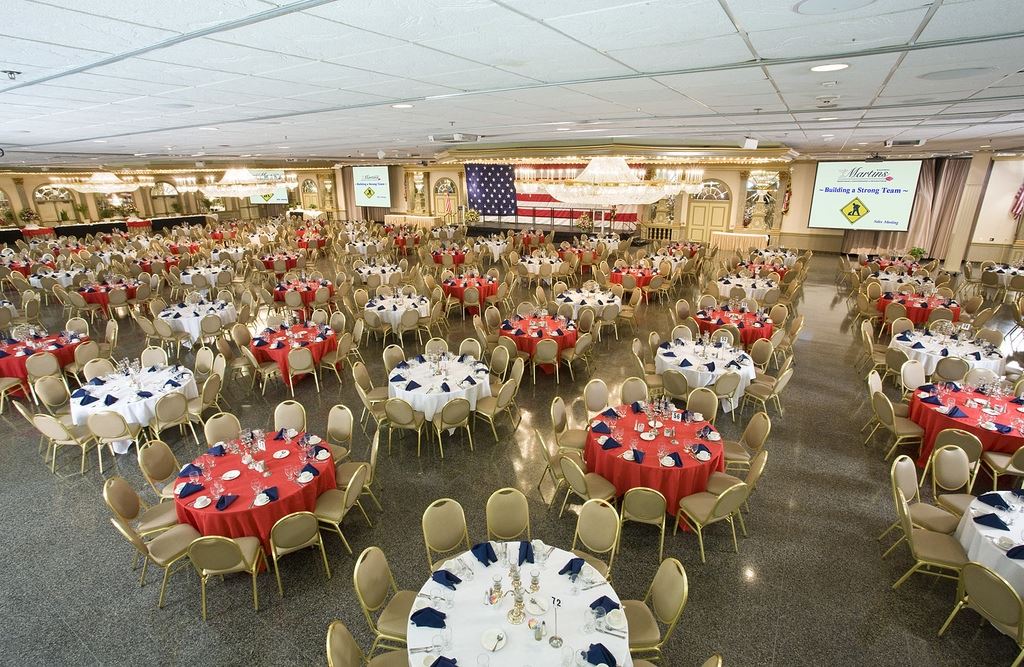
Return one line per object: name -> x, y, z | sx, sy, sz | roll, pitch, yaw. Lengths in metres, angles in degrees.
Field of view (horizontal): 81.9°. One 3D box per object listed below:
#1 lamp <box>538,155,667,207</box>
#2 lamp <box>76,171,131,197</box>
lamp -> 2.386, -3.885, 15.771 | 2.167, 0.715, 2.109 | -5, 25, -10
lamp -> -18.031, -6.661, 25.907 | 1.848, 0.619, 1.768 | -8, 16, -32
